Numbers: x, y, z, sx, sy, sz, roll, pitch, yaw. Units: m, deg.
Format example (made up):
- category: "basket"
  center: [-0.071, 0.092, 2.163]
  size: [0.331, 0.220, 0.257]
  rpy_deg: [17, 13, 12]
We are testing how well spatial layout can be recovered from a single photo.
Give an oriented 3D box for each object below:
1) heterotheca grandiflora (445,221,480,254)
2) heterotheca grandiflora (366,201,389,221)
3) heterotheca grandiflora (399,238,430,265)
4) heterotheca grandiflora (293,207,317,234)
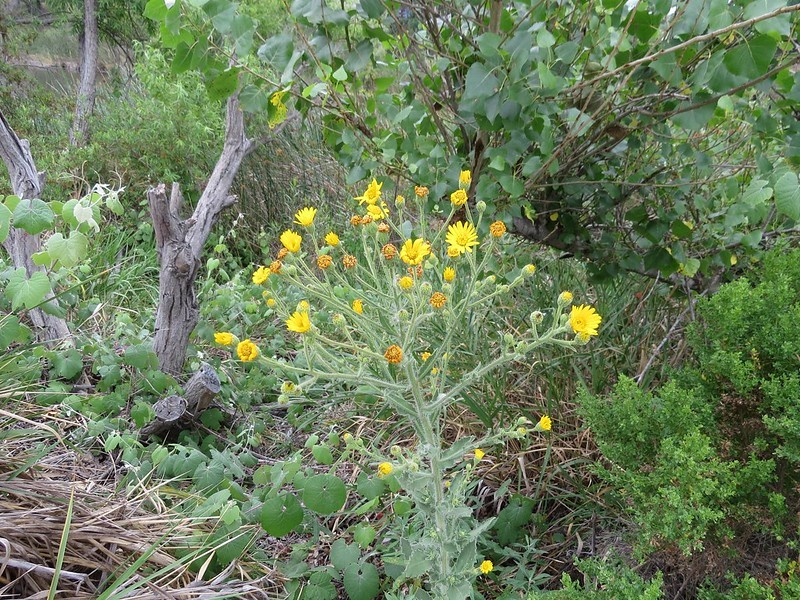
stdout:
- category: "heterotheca grandiflora"
  center: [0.200, -0.194, 1.779]
  size: [0.110, 0.121, 0.045]
  rpy_deg: [0, -16, 7]
- category: "heterotheca grandiflora"
  center: [-0.071, -0.282, 1.805]
  size: [0.068, 0.026, 0.069]
  rpy_deg: [-26, 75, -28]
- category: "heterotheca grandiflora"
  center: [0.044, -0.135, 1.656]
  size: [0.084, 0.083, 0.031]
  rpy_deg: [54, -9, 24]
- category: "heterotheca grandiflora"
  center: [-0.310, -0.273, 1.827]
  size: [0.048, 0.078, 0.158]
  rpy_deg: [11, 19, -18]
